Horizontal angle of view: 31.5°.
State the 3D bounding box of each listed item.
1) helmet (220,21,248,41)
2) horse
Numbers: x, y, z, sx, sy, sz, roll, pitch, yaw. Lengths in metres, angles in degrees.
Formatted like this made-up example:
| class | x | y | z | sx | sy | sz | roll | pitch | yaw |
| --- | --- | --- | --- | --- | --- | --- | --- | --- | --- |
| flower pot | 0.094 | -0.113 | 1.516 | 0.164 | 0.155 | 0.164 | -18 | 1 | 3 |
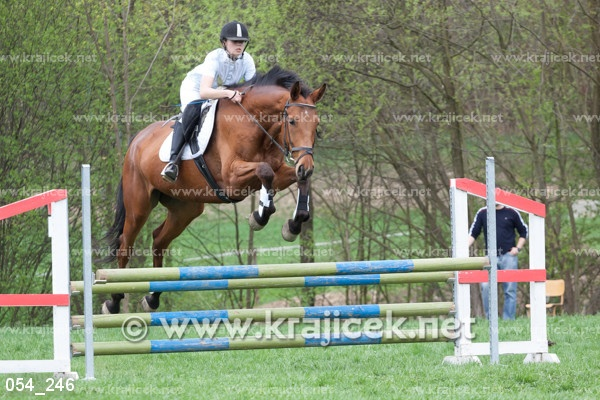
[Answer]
| class | x | y | z | sx | sy | sz | roll | pitch | yaw |
| --- | --- | --- | --- | --- | --- | --- | --- | --- | --- |
| helmet | -0.944 | -2.402 | 15.243 | 0.398 | 0.274 | 0.252 | -2 | 14 | -6 |
| horse | -1.496 | -0.051 | 15.891 | 4.398 | 3.130 | 1.079 | -9 | -11 | 42 |
